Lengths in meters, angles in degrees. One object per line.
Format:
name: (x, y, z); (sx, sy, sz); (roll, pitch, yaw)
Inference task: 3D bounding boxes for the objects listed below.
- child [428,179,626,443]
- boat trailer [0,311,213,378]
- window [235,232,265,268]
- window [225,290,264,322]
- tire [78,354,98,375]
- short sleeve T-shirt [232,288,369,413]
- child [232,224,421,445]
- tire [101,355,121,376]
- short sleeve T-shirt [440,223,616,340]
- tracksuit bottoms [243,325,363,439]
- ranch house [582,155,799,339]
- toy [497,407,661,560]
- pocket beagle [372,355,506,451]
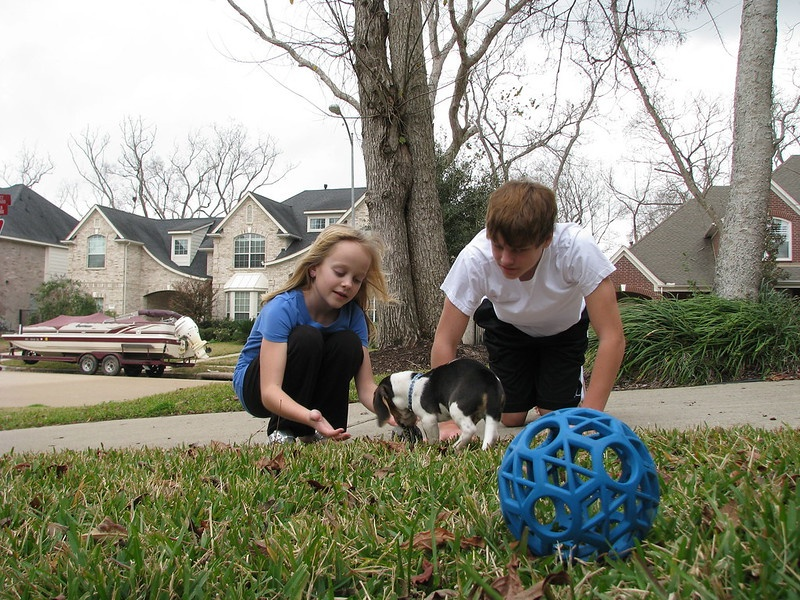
child: (0.807, 0.097, 3.867); (1.111, 1.745, 1.090); (-1, 16, 12)
boat trailer: (-7.636, 1.082, 17.048); (6.235, 1.497, 5.906); (-1, -1, 13)
window: (-7.769, -2.578, 31.143); (1.725, 2.032, 0.097); (0, -2, 7)
window: (-7.176, 0.234, 27.510); (1.393, 1.395, 0.813); (0, 0, 5)
tire: (-7.495, 1.508, 14.362); (0.443, 0.486, 0.168); (-4, -2, 17)
short sleeve T-shirt: (-0.681, 0.301, 3.856); (0.963, 0.380, 0.598); (-18, -15, 42)
child: (-0.536, 0.230, 3.849); (0.967, 1.344, 0.847); (0, 0, -14)
tire: (-6.833, 1.528, 14.149); (0.313, 0.448, 0.615); (0, 0, -42)
short sleeve T-shirt: (0.810, -0.079, 3.719); (1.353, 0.629, 1.271); (0, -11, 13)
tracksuit bottoms: (-0.647, 0.590, 4.042); (0.834, 0.664, 0.553); (-21, -26, 40)
ranch house: (11.325, -2.428, 22.587); (8.103, 4.612, 8.171); (-2, 10, 4)
toy: (0.615, 0.569, 2.092); (0.479, 0.526, 0.503); (-2, -10, -11)
pocket beagle: (0.228, 0.662, 3.665); (0.951, 0.514, 0.334); (-11, -19, 43)
